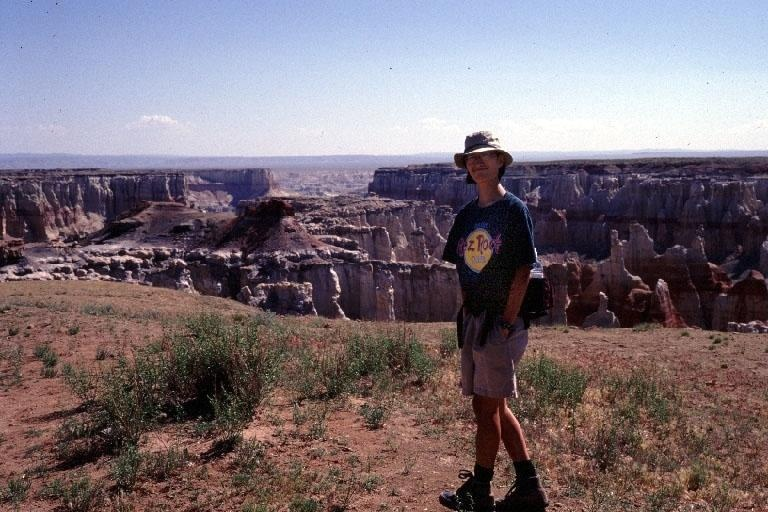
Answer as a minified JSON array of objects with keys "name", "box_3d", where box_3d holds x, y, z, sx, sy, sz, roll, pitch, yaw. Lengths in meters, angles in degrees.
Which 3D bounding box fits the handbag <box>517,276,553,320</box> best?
[{"name":"handbag","box_3d":[1.903,0.531,6.880,0.263,0.515,0.470,6,12,44]}]
